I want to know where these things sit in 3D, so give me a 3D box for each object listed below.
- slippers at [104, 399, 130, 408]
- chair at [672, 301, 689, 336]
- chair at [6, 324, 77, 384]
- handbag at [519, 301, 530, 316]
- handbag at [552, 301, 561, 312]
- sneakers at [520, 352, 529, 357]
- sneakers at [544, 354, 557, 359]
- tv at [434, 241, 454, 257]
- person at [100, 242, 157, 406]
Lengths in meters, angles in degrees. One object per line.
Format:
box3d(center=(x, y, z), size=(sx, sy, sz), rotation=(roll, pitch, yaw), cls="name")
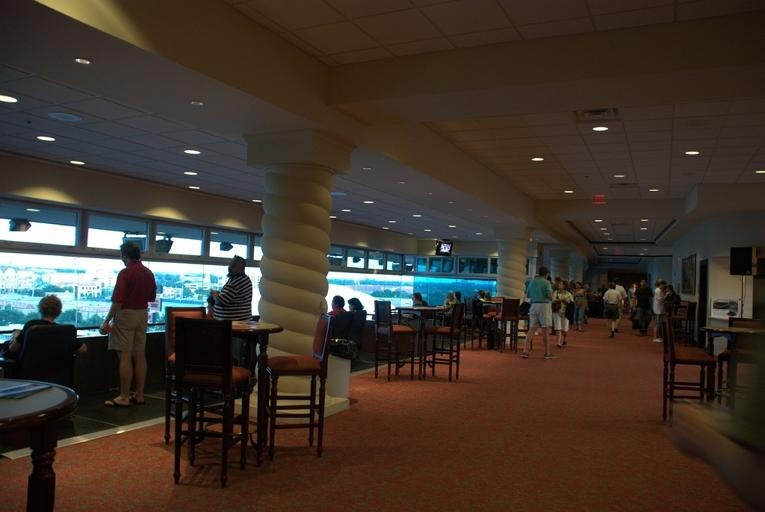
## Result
box3d(center=(-3.402, 1.900, 6.751), size=(0.247, 0.068, 0.125), rotation=(4, -7, -9), cls="slippers")
box3d(center=(8.604, 1.839, 15.295), size=(0.565, 0.915, 0.591), rotation=(-8, -7, 36), cls="chair")
box3d(center=(-4.002, 1.163, 6.358), size=(0.759, 0.794, 0.619), rotation=(-9, -12, 44), cls="chair")
box3d(center=(3.853, 1.418, 14.267), size=(0.354, 0.358, 0.421), rotation=(3, 5, 19), cls="handbag")
box3d(center=(4.140, 1.198, 12.480), size=(0.177, 0.278, 0.268), rotation=(8, 22, 6), cls="handbag")
box3d(center=(3.070, 2.147, 11.430), size=(0.120, 0.129, 0.322), rotation=(1, -5, 21), cls="sneakers")
box3d(center=(3.673, 2.187, 11.478), size=(0.276, 0.119, 0.115), rotation=(1, -18, 6), cls="sneakers")
box3d(center=(2.419, -0.363, 20.781), size=(0.626, 0.587, 0.601), rotation=(0, -6, 19), cls="tv")
box3d(center=(-3.331, 0.867, 6.871), size=(0.615, 2.145, 0.360), rotation=(6, -7, -35), cls="person")
